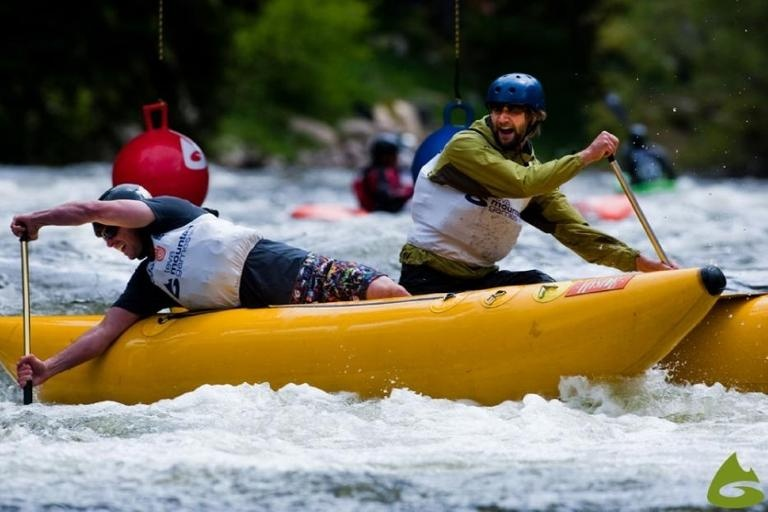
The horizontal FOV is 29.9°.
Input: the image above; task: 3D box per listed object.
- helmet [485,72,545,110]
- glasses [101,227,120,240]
[{"bbox_3d":[1.483,-1.870,15.975,0.438,0.498,0.420,9,29,21],"label":"helmet"},{"bbox_3d":[-3.045,-0.266,15.932,0.161,0.135,0.044,-10,1,26],"label":"glasses"}]
